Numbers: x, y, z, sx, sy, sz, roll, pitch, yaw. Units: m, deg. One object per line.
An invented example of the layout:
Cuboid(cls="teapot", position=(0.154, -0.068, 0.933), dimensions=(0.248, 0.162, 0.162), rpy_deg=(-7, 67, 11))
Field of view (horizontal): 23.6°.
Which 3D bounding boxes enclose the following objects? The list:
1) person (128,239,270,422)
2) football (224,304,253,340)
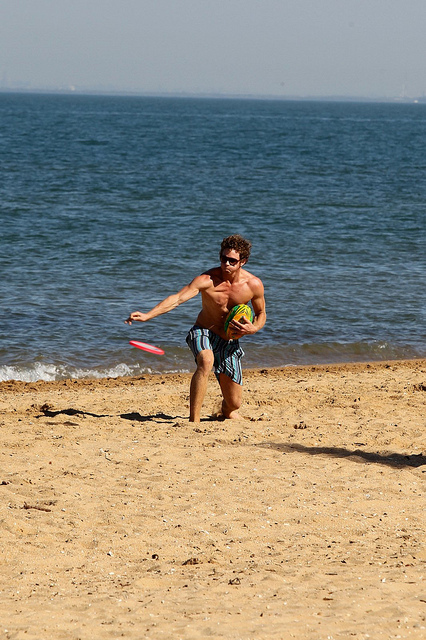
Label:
Cuboid(cls="person", position=(-0.001, 0.119, 8.516), dimensions=(0.850, 1.620, 0.732), rpy_deg=(1, 12, 1))
Cuboid(cls="football", position=(0.213, 0.032, 8.400), dimensions=(0.165, 0.274, 0.222), rpy_deg=(22, 9, 21))
